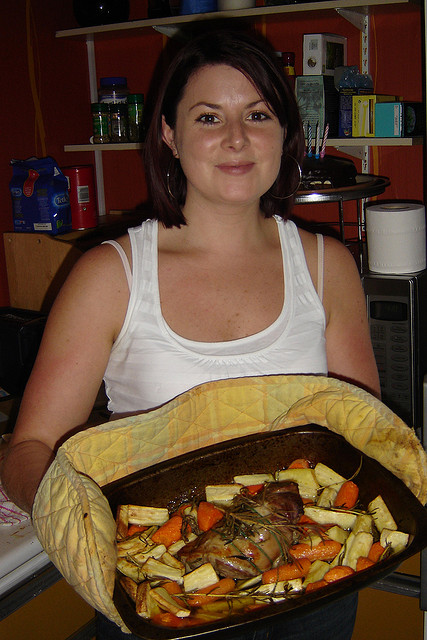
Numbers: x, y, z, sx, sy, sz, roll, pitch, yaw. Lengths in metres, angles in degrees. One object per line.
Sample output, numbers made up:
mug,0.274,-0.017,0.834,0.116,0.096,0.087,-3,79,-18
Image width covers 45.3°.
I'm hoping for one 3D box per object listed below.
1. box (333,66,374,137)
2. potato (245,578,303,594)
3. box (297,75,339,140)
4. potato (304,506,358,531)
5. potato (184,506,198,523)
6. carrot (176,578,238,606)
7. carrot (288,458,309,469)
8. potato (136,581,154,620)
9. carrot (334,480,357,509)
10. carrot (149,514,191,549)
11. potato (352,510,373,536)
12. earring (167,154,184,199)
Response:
box,0.426,-0.659,1.553,0.068,0.191,0.110,11,22,38
potato,0.049,0.238,0.465,0.059,0.015,0.016,-4,-16,3
box,0.306,-0.667,1.550,0.096,0.157,0.096,18,45,30
potato,0.127,0.216,0.558,0.049,0.014,0.019,-1,1,19
potato,-0.024,0.212,0.560,0.015,0.010,0.012,1,12,18
carrot,-0.007,0.242,0.453,0.036,0.009,0.009,-9,16,-28
carrot,0.105,0.178,0.626,0.025,0.010,0.017,-6,12,-12
potato,-0.057,0.233,0.432,0.012,0.008,0.038,7,4,-1
carrot,0.148,0.198,0.578,0.014,0.031,0.015,21,-4,23
carrot,-0.046,0.224,0.537,0.041,0.020,0.011,-35,-7,-38
potato,0.150,0.209,0.525,0.015,0.021,0.021,3,-30,6
earring,-0.076,-0.266,0.956,0.025,0.074,0.053,0,12,19
